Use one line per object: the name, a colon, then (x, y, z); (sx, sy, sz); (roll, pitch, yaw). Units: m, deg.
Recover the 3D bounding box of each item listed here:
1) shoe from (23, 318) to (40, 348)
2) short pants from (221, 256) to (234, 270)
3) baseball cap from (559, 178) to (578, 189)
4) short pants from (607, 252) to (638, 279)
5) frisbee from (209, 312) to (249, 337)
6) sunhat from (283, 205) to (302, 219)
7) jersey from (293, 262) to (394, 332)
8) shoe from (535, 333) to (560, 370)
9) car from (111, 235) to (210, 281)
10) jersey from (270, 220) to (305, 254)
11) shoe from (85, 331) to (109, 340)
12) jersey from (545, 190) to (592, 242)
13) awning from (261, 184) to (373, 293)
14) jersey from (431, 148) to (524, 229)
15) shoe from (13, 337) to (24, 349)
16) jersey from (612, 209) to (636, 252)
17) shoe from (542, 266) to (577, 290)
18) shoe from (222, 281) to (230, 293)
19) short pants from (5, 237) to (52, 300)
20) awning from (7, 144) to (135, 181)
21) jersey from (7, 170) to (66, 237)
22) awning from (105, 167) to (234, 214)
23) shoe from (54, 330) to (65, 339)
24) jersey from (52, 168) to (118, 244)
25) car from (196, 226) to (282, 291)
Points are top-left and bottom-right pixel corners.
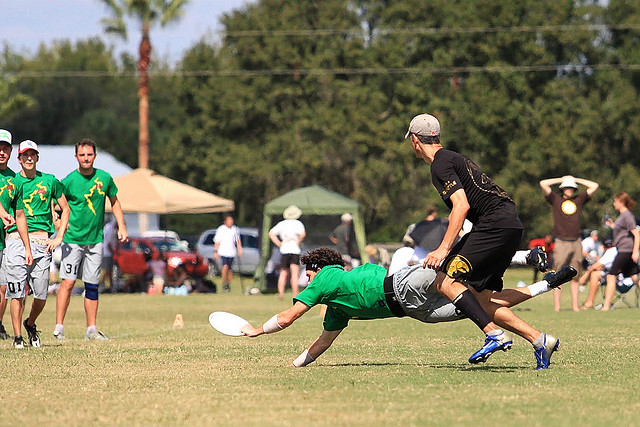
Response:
shoe: (-4.984, 2.066, 20.690); (0.198, 0.553, 0.235); (-20, -6, -43)
short pants: (-2.591, 1.362, 33.528); (0.348, 0.411, 0.548); (0, 4, -4)
baseball cap: (5.248, -0.656, 25.461); (0.339, 0.205, 0.334); (1, 4, 11)
short pants: (6.548, 1.097, 26.044); (0.577, 0.503, 0.208); (8, 9, -20)
frisbee: (-1.419, 1.752, 18.918); (0.608, 0.371, 0.439); (1, 4, 11)
sunhat: (-0.706, -0.021, 29.399); (0.345, 0.319, 0.868); (1, 4, 2)
jersey: (0.414, 1.328, 18.640); (1.386, 1.073, 0.434); (0, 4, -2)
shoe: (3.495, 2.097, 18.651); (0.332, 0.661, 0.238); (6, 16, -10)
car: (-4.421, 1.242, 32.809); (2.294, 0.993, 1.244); (-2, 0, -2)
jersey: (-0.806, 0.546, 29.265); (0.932, 0.939, 0.404); (-1, -5, 13)
shoe: (-3.966, 2.162, 21.325); (0.387, 0.164, 0.139); (-2, -2, 7)
jersey: (5.235, 0.042, 25.480); (0.951, 1.080, 0.423); (1, 5, 10)
awning: (-0.375, 0.166, 32.389); (1.669, 3.836, 1.602); (0, -1, 40)
jersey: (2.382, -0.389, 18.515); (1.355, 1.222, 0.417); (1, 4, 5)
shoe: (-5.129, 2.193, 20.432); (0.178, 0.155, 0.292); (-1, 4, -15)
jersey: (6.551, 0.373, 25.800); (0.236, 0.897, 0.623); (-3, 6, -41)
shoe: (3.721, 0.973, 18.733); (0.645, 0.235, 0.273); (-21, -1, -1)
shoe: (-2.619, 2.012, 33.235); (0.173, 0.306, 0.551); (0, 4, -5)
short pants: (-5.033, 0.945, 20.728); (0.783, 1.074, 0.354); (-1, 4, -15)
awning: (-7.817, -1.574, 36.741); (3.159, 0.754, 2.916); (-1, -3, -6)
jersey: (-4.891, -0.149, 21.162); (0.648, 1.220, 1.346); (0, -1, -1)
awning: (-3.750, -0.543, 29.869); (2.644, 1.085, 1.073); (0, 4, -11)
shoe: (-4.663, 2.135, 21.342); (0.152, 0.157, 0.137); (1, 4, 8)
jersey: (-4.117, -0.174, 21.410); (1.114, 1.403, 0.483); (1, 20, -2)
car: (-2.953, 1.146, 40.931); (3.335, 1.639, 1.620); (2, 19, -22)
